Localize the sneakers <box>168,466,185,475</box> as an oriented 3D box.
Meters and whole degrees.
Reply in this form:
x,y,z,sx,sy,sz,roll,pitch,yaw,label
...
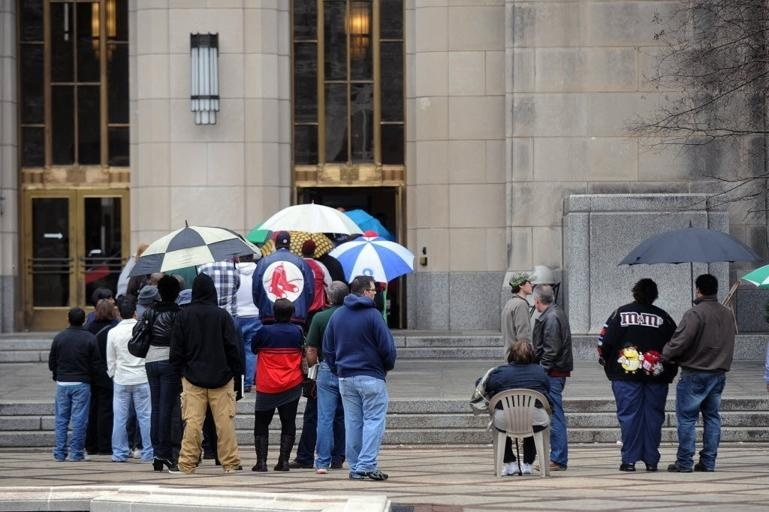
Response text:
x,y,z,sx,sy,sz,roll,pitch,yaw,label
-3.989,4.066,40.356,0.344,0.123,0.121,5,-2,4,sneakers

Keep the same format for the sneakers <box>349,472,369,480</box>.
x,y,z,sx,sy,sz,roll,pitch,yaw,label
-0.537,4.123,39.868,0.270,0.117,0.369,1,-2,-24,sneakers

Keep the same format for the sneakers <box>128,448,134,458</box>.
x,y,z,sx,sy,sz,roll,pitch,yaw,label
-4.997,3.878,41.829,0.132,0.119,0.122,-10,-4,-20,sneakers

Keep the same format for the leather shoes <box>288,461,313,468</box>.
x,y,z,sx,sy,sz,roll,pitch,yaw,label
-1.654,4.013,40.846,0.452,0.183,0.159,4,-4,1,leather shoes

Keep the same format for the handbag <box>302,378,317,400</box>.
x,y,z,sx,sy,sz,roll,pitch,yaw,label
-1.470,2.529,40.451,0.353,0.449,0.357,0,2,9,handbag

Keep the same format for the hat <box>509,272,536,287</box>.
x,y,z,sx,sy,sz,roll,pitch,yaw,label
2.643,0.405,41.205,0.429,0.198,0.286,-3,-1,-19,hat

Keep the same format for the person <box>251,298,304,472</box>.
x,y,z,sx,sy,sz,roll,pitch,yaw,label
-2.079,2.427,40.466,1.061,3.293,0.288,-2,2,-4,person

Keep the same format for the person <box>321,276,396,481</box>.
x,y,z,sx,sy,sz,roll,pitch,yaw,label
-0.473,2.276,40.070,1.271,3.866,0.601,-2,2,-2,person

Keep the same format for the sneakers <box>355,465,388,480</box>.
x,y,z,sx,sy,sz,roll,pitch,yaw,label
-0.320,4.097,39.975,0.694,0.282,0.218,1,1,-11,sneakers

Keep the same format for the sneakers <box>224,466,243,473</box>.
x,y,z,sx,sy,sz,roll,pitch,yaw,label
-2.895,4.035,40.425,0.138,0.149,0.369,5,6,23,sneakers

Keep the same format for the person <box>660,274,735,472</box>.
x,y,z,sx,sy,sz,roll,pitch,yaw,label
5.954,2.205,40.491,1.322,3.760,0.512,-2,2,4,person

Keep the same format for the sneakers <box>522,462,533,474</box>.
x,y,z,sx,sy,sz,roll,pitch,yaw,label
2.652,4.047,40.419,0.250,0.221,0.146,0,2,-3,sneakers

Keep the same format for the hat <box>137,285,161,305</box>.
x,y,z,sx,sy,sz,roll,pitch,yaw,label
-4.613,0.714,41.240,0.437,0.229,0.312,-4,31,40,hat

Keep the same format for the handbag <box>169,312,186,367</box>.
x,y,z,sx,sy,sz,roll,pitch,yaw,label
-3.961,1.547,40.117,0.294,1.084,0.134,-2,2,-6,handbag

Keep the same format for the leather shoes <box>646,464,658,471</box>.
x,y,z,sx,sy,sz,roll,pitch,yaw,label
5.073,4.017,40.527,0.279,0.139,0.158,-3,2,-23,leather shoes

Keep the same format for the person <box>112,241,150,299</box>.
x,y,z,sx,sy,sz,roll,pitch,yaw,label
-5.067,0.285,42.561,0.302,0.999,0.313,20,0,-18,person

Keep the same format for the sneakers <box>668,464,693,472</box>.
x,y,z,sx,sy,sz,roll,pitch,yaw,label
5.558,4.029,40.409,0.398,0.150,0.185,3,0,19,sneakers

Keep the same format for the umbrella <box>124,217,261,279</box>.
x,y,z,sx,sy,sz,roll,pitch,yaw,label
-3.853,-0.165,41.061,1.472,0.460,1.437,-6,6,23,umbrella

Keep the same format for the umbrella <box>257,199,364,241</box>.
x,y,z,sx,sy,sz,roll,pitch,yaw,label
-1.505,-0.792,42.986,1.931,0.634,0.792,-2,2,-2,umbrella

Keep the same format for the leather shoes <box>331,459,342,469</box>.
x,y,z,sx,sy,sz,roll,pitch,yaw,label
-0.962,3.982,40.766,0.217,0.178,0.422,1,2,-1,leather shoes

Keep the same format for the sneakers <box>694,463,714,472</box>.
x,y,z,sx,sy,sz,roll,pitch,yaw,label
6.026,4.029,40.446,0.154,0.137,0.346,-4,8,-36,sneakers

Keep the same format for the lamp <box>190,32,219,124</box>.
x,y,z,sx,sy,sz,roll,pitch,yaw,label
-4.260,-4.260,49.867,0.683,2.175,0.230,-2,2,-5,lamp

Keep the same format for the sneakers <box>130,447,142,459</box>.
x,y,z,sx,sy,sz,roll,pitch,yaw,label
-4.911,3.861,41.765,0.203,0.180,0.191,15,-17,-40,sneakers

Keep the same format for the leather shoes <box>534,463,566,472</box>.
x,y,z,sx,sy,sz,roll,pitch,yaw,label
3.096,4.049,40.628,0.670,0.249,0.216,5,-4,-6,leather shoes

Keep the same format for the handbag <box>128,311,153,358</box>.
x,y,z,sx,sy,sz,roll,pitch,yaw,label
-4.645,1.456,40.549,0.506,0.879,0.243,-3,2,-29,handbag

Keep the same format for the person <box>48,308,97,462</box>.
x,y,z,sx,sy,sz,roll,pitch,yaw,label
-6.092,2.485,41.582,0.945,3.004,0.406,-3,2,-10,person
